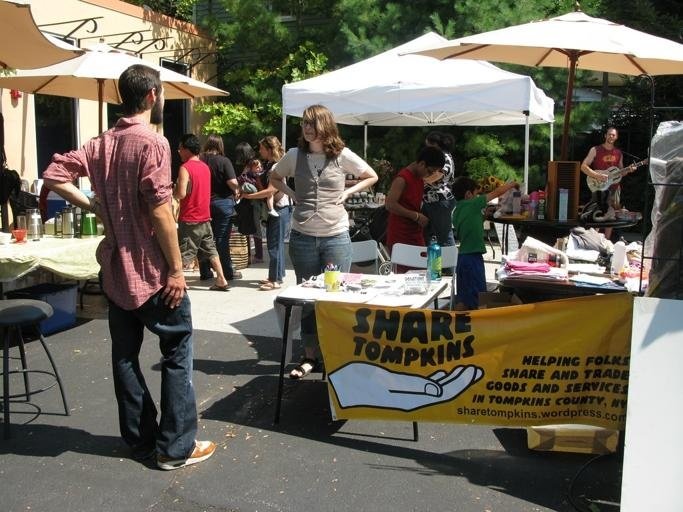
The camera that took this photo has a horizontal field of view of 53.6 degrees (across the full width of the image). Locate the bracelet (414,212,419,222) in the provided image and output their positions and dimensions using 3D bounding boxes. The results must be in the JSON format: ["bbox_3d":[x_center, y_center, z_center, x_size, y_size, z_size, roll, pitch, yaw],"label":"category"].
[{"bbox_3d":[0.752,-0.393,6.767,0.023,0.065,0.057,4,-10,-15],"label":"bracelet"}]

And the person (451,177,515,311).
[{"bbox_3d":[1.484,-0.094,7.374,0.554,1.447,0.671,1,12,9],"label":"person"}]

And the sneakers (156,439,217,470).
[{"bbox_3d":[-1.077,1.407,4.742,0.146,0.160,0.399,6,7,43],"label":"sneakers"}]

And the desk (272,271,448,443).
[{"bbox_3d":[0.093,0.626,5.541,1.137,0.944,1.243,6,15,22],"label":"desk"}]

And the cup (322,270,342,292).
[{"bbox_3d":[-0.077,0.212,5.388,0.143,0.164,0.144,0,4,0],"label":"cup"}]

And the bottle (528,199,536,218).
[{"bbox_3d":[2.083,-0.497,7.353,0.071,0.190,0.222,0,11,8],"label":"bottle"}]

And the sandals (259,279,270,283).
[{"bbox_3d":[-1.069,0.360,9.359,0.062,0.075,0.185,-2,-1,-44],"label":"sandals"}]

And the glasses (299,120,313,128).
[{"bbox_3d":[-0.276,-1.100,5.738,0.078,0.030,0.082,3,1,27],"label":"glasses"}]

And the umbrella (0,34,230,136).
[{"bbox_3d":[-2.911,-2.142,8.313,1.921,0.861,2.004,1,7,-12],"label":"umbrella"}]

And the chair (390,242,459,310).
[{"bbox_3d":[0.819,0.165,6.920,0.668,0.891,0.642,1,10,7],"label":"chair"}]

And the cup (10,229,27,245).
[{"bbox_3d":[-3.327,-0.188,6.993,0.145,0.126,0.152,0,-4,0],"label":"cup"}]

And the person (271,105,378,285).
[{"bbox_3d":[-0.151,-0.524,5.969,0.897,1.552,0.588,-2,12,-6],"label":"person"}]

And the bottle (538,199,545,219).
[{"bbox_3d":[2.131,-0.488,7.206,0.071,0.200,0.205,2,2,12],"label":"bottle"}]

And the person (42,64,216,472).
[{"bbox_3d":[-1.422,0.087,4.696,0.964,2.728,0.499,5,13,29],"label":"person"}]

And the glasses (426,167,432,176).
[{"bbox_3d":[0.873,-0.825,6.713,0.070,0.099,0.270,0,11,5],"label":"glasses"}]
